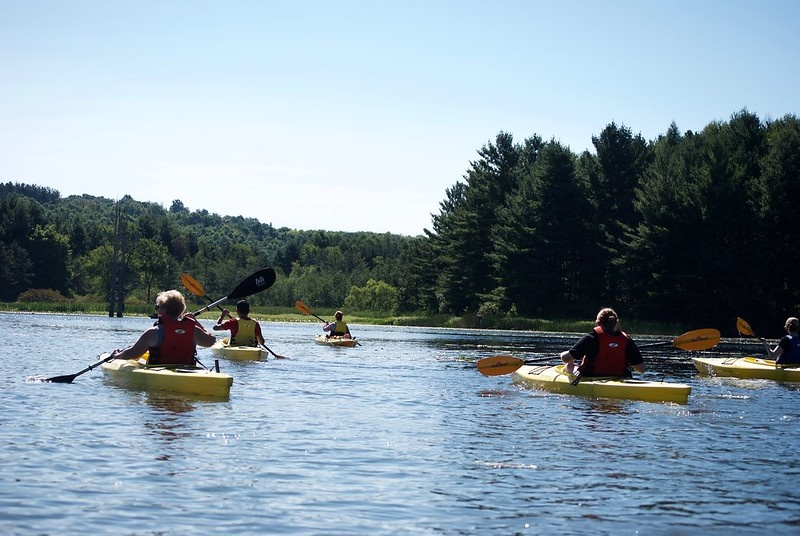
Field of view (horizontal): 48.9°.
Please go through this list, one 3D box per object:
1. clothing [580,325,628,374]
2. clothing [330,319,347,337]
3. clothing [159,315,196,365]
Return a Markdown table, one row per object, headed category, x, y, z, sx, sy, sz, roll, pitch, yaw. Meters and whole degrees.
| category | x | y | z | sx | sy | sz | roll | pitch | yaw |
| --- | --- | --- | --- | --- | --- | --- | --- | --- | --- |
| clothing | 4.019 | 1.656 | 17.275 | 0.749 | 0.950 | 0.468 | 5 | 11 | 5 |
| clothing | -2.068 | 2.087 | 29.723 | 0.411 | 0.588 | 0.541 | 2 | 0 | -10 |
| clothing | -4.343 | 1.511 | 17.181 | 0.702 | 1.090 | 0.568 | 5 | -25 | -16 |
